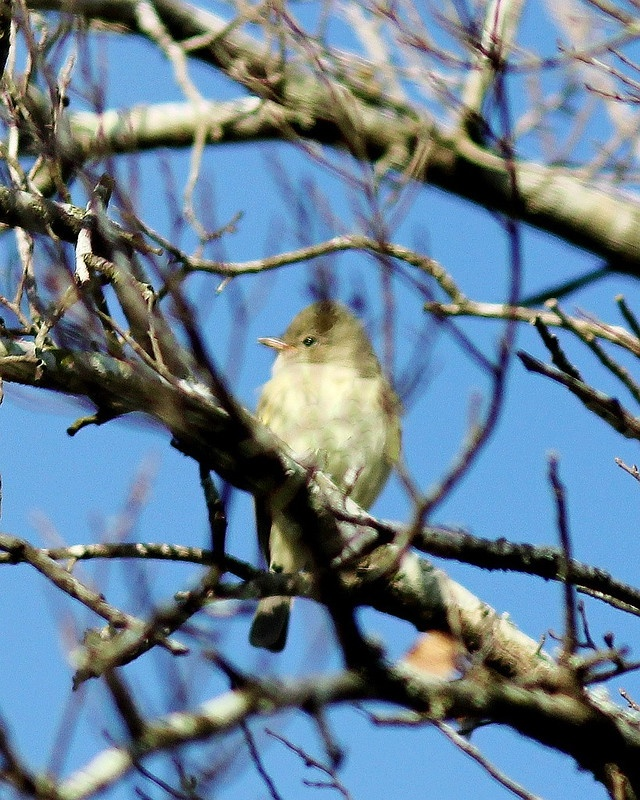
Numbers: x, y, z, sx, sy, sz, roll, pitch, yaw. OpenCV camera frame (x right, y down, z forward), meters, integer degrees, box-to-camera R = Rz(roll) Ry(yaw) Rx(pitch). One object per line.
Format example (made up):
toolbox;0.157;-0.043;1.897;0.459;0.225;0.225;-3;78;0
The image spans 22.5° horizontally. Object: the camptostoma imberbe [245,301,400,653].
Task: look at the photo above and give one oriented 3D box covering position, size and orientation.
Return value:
camptostoma imberbe;0.018;0.153;4.909;0.425;0.520;1.252;4;-66;-2
